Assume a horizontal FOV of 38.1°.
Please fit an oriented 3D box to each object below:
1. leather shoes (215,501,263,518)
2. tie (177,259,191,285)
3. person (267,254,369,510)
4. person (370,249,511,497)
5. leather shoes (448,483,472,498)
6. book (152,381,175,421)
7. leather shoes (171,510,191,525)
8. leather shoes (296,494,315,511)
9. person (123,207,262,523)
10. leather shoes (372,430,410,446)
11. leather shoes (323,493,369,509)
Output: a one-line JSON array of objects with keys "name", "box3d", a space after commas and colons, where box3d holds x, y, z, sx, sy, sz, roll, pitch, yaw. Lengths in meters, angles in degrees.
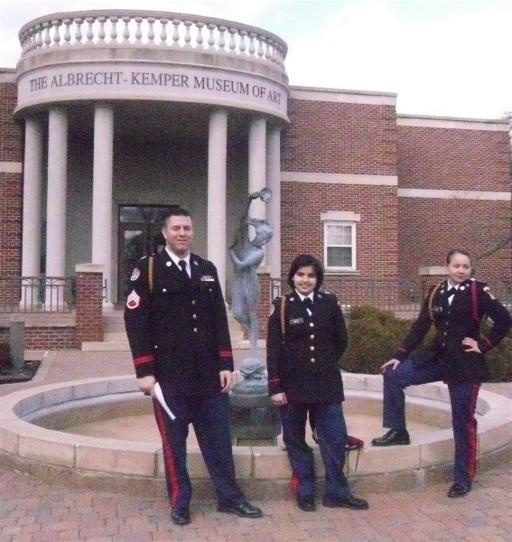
[{"name": "leather shoes", "box3d": [-0.124, 1.605, 5.086, 0.281, 0.103, 0.110, -1, 1, 17]}, {"name": "tie", "box3d": [-0.491, 0.010, 5.128, 0.048, 0.055, 0.209, -6, 33, -3]}, {"name": "person", "box3d": [0.435, 0.775, 5.329, 0.738, 1.778, 0.522, 7, 10, 37]}, {"name": "person", "box3d": [1.815, 0.989, 7.658, 0.758, 2.792, 1.330, 31, -32, -27]}, {"name": "leather shoes", "box3d": [1.517, 1.627, 5.511, 0.070, 0.082, 0.194, -8, -18, 43]}, {"name": "book", "box3d": [-0.588, 0.866, 4.974, 0.070, 0.222, 0.161, -33, 10, 0]}, {"name": "leather shoes", "box3d": [-0.507, 1.647, 4.968, 0.132, 0.077, 0.090, 0, 8, -7]}, {"name": "leather shoes", "box3d": [0.355, 1.626, 5.249, 0.134, 0.093, 0.168, 2, 8, 3]}, {"name": "person", "box3d": [-0.487, 0.624, 5.104, 0.829, 2.069, 0.606, -1, 8, -11]}, {"name": "leather shoes", "box3d": [1.062, 1.299, 5.843, 0.320, 0.137, 0.119, 1, -5, -2]}, {"name": "leather shoes", "box3d": [0.621, 1.599, 5.249, 0.339, 0.144, 0.114, -2, -1, 5]}]
